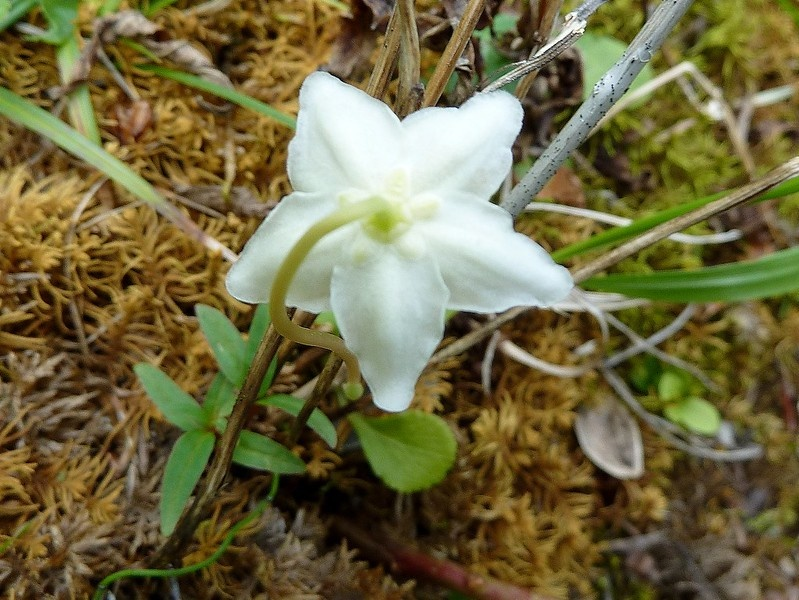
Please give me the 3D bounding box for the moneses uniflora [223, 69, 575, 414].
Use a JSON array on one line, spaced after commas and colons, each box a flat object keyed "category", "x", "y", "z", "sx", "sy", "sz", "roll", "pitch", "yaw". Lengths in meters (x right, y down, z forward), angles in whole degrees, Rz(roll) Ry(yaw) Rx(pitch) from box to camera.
[{"category": "moneses uniflora", "x": -0.035, "y": -0.140, "z": 1.483, "sx": 0.605, "sy": 0.632, "sz": 0.218, "roll": 25, "pitch": -65, "yaw": -24}]
